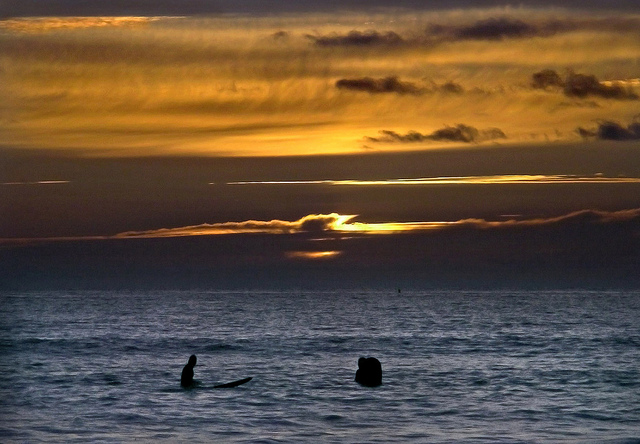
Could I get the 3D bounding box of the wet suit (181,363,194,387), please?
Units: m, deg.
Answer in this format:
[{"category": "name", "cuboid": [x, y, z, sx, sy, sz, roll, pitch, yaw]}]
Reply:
[{"category": "wet suit", "cuboid": [-19.561, 22.844, 259.771, 1.417, 3.609, 1.377, -6, -8, 35]}]
